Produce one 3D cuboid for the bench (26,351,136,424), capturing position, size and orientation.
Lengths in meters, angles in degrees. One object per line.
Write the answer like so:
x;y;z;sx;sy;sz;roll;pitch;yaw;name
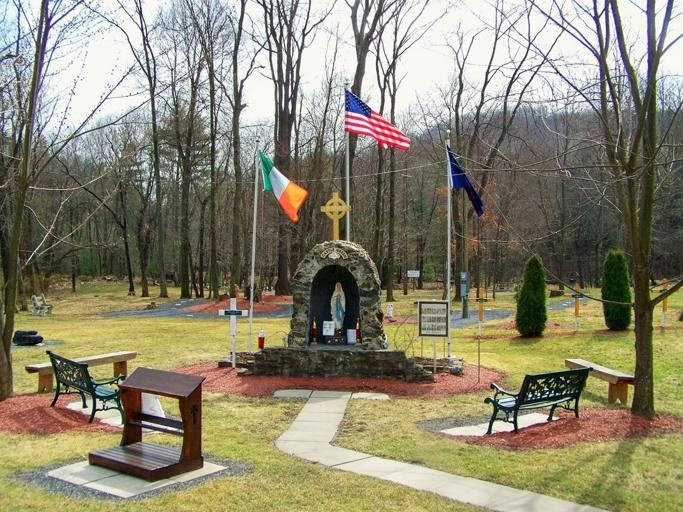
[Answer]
-6.935;3.159;16.488;1.080;0.798;2.917;2;4;37;bench
